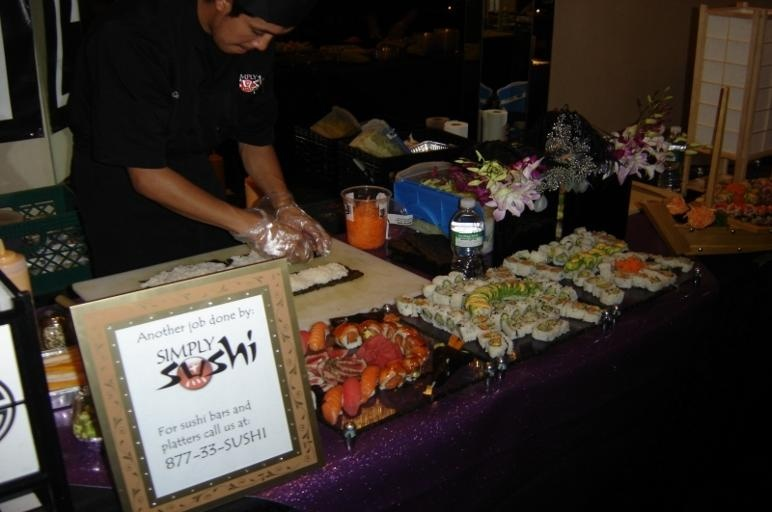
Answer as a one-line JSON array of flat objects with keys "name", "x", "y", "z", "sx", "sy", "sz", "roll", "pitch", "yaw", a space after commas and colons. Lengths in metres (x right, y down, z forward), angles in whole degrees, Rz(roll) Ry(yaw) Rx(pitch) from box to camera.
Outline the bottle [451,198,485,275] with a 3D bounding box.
[{"name": "bottle", "x": 0.308, "y": -0.063, "z": 2.049, "sx": 0.133, "sy": 0.296, "sz": 0.128, "roll": -2, "pitch": 19, "yaw": 1}]

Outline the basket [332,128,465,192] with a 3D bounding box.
[{"name": "basket", "x": 0.135, "y": -0.516, "z": 2.757, "sx": 0.498, "sy": 0.427, "sz": 0.474, "roll": -16, "pitch": 24, "yaw": -34}]

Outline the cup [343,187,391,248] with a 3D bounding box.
[{"name": "cup", "x": -0.090, "y": -0.161, "z": 2.348, "sx": 0.223, "sy": 0.211, "sz": 0.213, "roll": 0, "pitch": 10, "yaw": 0}]

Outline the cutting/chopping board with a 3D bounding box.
[{"name": "cutting/chopping board", "x": -0.242, "y": 0.102, "z": 2.145, "sx": 0.616, "sy": 0.013, "sz": 0.532, "roll": -15, "pitch": 30, "yaw": -31}]
